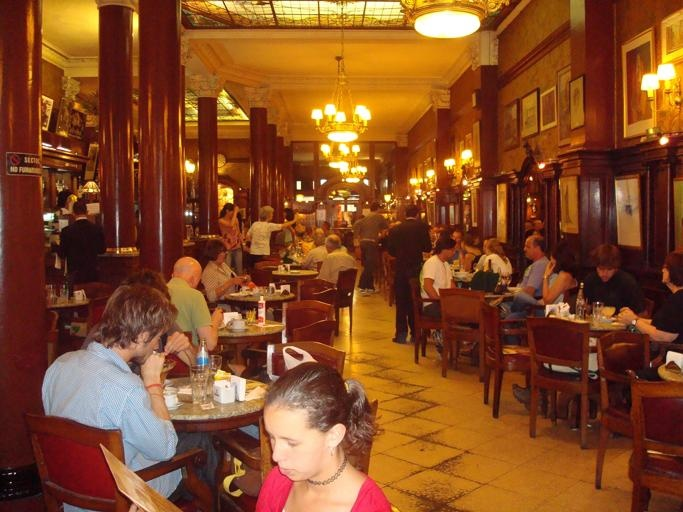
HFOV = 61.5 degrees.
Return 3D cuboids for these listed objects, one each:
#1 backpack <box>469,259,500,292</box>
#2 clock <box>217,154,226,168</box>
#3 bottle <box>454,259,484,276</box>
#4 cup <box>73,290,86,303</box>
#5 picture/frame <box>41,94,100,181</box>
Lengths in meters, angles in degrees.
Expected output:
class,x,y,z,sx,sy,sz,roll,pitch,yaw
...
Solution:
class,x,y,z,sx,sy,sz,roll,pitch,yaw
backpack,1.955,0.250,7.960,0.375,0.577,0.408,-2,6,-13
clock,-5.224,-4.239,25.522,0.296,0.607,0.193,-3,6,-23
bottle,2.334,0.199,10.663,0.374,0.183,0.498,-2,1,2
cup,-3.334,0.511,7.392,0.126,0.173,0.170,0,-6,15
picture/frame,-7.029,-2.977,14.926,0.864,2.018,2.780,-2,6,-12
